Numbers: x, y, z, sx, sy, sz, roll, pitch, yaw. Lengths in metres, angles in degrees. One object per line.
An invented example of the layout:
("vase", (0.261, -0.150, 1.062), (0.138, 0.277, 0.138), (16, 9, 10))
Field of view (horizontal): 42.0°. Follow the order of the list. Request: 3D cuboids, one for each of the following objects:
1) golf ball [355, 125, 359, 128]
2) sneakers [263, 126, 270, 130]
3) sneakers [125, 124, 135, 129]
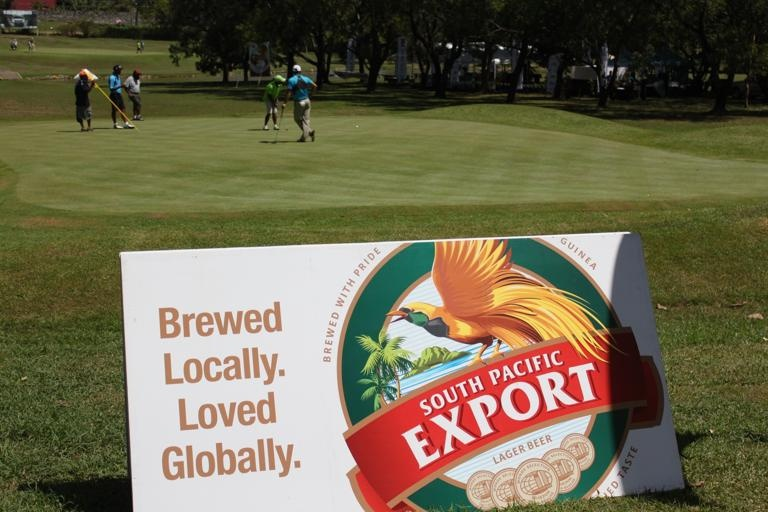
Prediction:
("golf ball", (-0.853, -4.073, 31.474), (0.102, 0.063, 0.118), (-16, -1, 42))
("sneakers", (-3.699, -4.000, 31.287), (0.161, 0.113, 0.171), (0, 5, -7))
("sneakers", (-7.846, -3.998, 30.900), (0.203, 0.120, 0.574), (-10, 16, -37))
